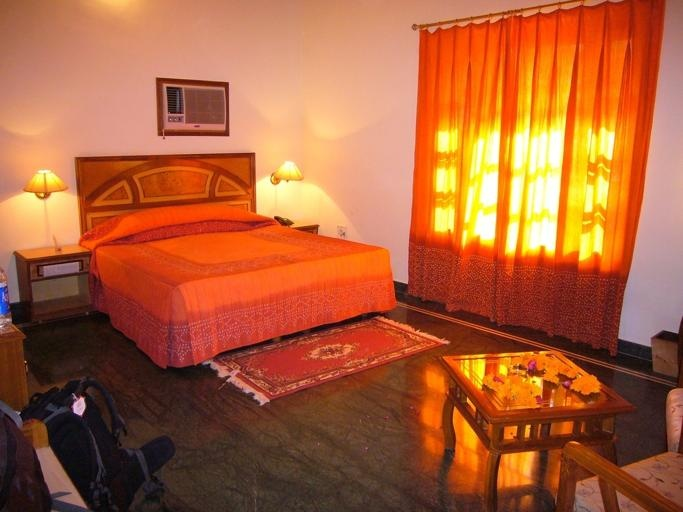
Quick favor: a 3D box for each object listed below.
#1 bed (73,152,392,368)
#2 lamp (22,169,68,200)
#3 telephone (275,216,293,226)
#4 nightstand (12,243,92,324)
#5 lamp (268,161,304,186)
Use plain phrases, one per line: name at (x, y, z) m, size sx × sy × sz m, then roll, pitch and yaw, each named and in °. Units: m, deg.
bed at (-1.241, -0.245, 5.346) m, size 2.833 × 1.738 × 2.891 m, roll -8°, pitch 15°, yaw -37°
lamp at (-3.108, -0.735, 4.963) m, size 0.378 × 0.323 × 0.415 m, roll -8°, pitch 14°, yaw -30°
telephone at (-0.801, -0.473, 6.639) m, size 0.204 × 0.075 × 0.152 m, roll 15°, pitch 16°, yaw 34°
nightstand at (-3.122, 0.294, 5.123) m, size 0.495 × 0.660 × 0.643 m, roll 13°, pitch 15°, yaw 35°
lamp at (-0.779, -1.142, 6.656) m, size 0.321 × 0.361 × 0.399 m, roll -19°, pitch 39°, yaw -38°
